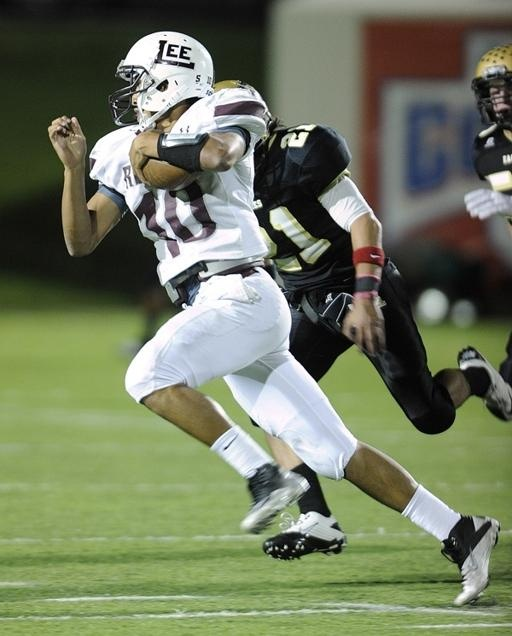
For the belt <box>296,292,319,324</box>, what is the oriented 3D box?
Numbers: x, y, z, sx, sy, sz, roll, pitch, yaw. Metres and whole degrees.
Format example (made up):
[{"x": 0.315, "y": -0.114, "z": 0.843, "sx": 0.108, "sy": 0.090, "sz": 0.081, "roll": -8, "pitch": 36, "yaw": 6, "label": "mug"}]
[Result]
[{"x": 0.169, "y": -0.031, "z": 2.474, "sx": 0.038, "sy": 0.091, "sz": 0.068, "roll": -44, "pitch": 7, "yaw": -7, "label": "belt"}]

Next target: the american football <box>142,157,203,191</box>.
[{"x": -0.195, "y": -0.332, "z": 1.764, "sx": 0.111, "sy": 0.050, "sz": 0.081, "roll": 2, "pitch": 5, "yaw": 11, "label": "american football"}]

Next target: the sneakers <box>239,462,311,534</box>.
[{"x": 0.043, "y": 0.409, "z": 1.713, "sx": 0.137, "sy": 0.111, "sz": 0.102, "roll": 3, "pitch": -1, "yaw": 2, "label": "sneakers"}]

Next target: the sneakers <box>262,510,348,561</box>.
[{"x": 0.116, "y": 0.598, "z": 2.120, "sx": 0.283, "sy": 0.105, "sz": 0.104, "roll": 4, "pitch": -9, "yaw": -33, "label": "sneakers"}]

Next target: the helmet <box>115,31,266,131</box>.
[{"x": -0.183, "y": -0.656, "z": 2.201, "sx": 0.420, "sy": 0.239, "sz": 0.282, "roll": -1, "pitch": 5, "yaw": 2, "label": "helmet"}]

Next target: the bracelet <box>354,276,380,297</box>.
[{"x": 0.294, "y": -0.085, "z": 2.020, "sx": 0.066, "sy": 0.037, "sz": 0.056, "roll": 0, "pitch": -1, "yaw": 6, "label": "bracelet"}]

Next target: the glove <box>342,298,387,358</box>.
[{"x": 0.278, "y": 0.017, "z": 1.956, "sx": 0.061, "sy": 0.104, "sz": 0.158, "roll": -2, "pitch": 36, "yaw": -41, "label": "glove"}]

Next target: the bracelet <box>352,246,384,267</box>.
[{"x": 0.304, "y": -0.166, "z": 2.095, "sx": 0.076, "sy": 0.036, "sz": 0.063, "roll": 1, "pitch": -5, "yaw": 2, "label": "bracelet"}]

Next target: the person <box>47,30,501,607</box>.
[{"x": -0.029, "y": -0.054, "z": 1.945, "sx": 1.137, "sy": 1.041, "sz": 0.628, "roll": 2, "pitch": -2, "yaw": 25, "label": "person"}]
